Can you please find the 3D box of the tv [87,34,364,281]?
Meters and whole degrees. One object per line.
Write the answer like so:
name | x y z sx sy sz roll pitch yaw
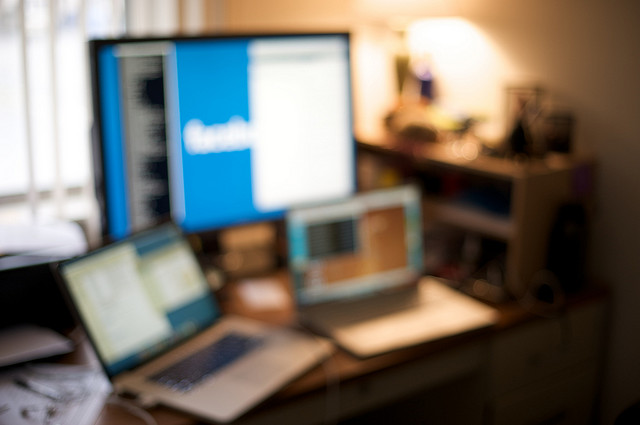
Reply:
tv | -0.163 -0.108 0.872 0.434 0.419 0.136 -8 9 -33

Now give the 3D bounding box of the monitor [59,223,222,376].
monitor | -0.294 0.171 0.862 0.262 0.166 0.187 -31 18 -34

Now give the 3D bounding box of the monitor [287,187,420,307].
monitor | 0.021 0.022 0.930 0.261 0.178 0.226 -10 30 -13

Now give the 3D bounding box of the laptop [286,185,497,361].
laptop | 0.117 0.078 0.767 0.281 0.167 0.208 -8 9 -29

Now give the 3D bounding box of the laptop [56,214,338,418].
laptop | -0.179 0.176 0.764 0.302 0.184 0.294 5 21 30
